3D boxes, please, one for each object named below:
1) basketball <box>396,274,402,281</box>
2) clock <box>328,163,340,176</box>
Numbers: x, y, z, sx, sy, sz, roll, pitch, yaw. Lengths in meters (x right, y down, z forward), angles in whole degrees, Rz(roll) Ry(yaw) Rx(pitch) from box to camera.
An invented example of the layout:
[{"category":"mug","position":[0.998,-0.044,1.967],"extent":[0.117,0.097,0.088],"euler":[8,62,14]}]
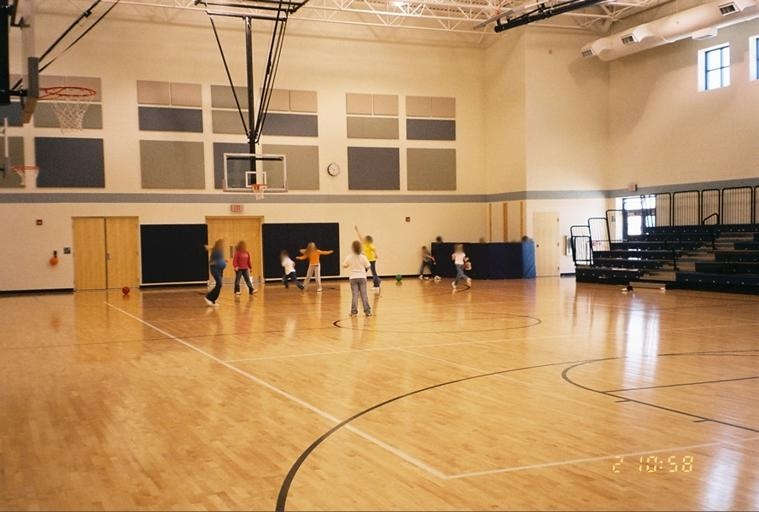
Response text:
[{"category":"basketball","position":[0.775,0.905,23.487],"extent":[0.217,0.220,0.223],"euler":[-2,-1,1]},{"category":"clock","position":[-1.836,-3.467,23.412],"extent":[0.448,0.466,0.103],"euler":[-13,6,-27]}]
